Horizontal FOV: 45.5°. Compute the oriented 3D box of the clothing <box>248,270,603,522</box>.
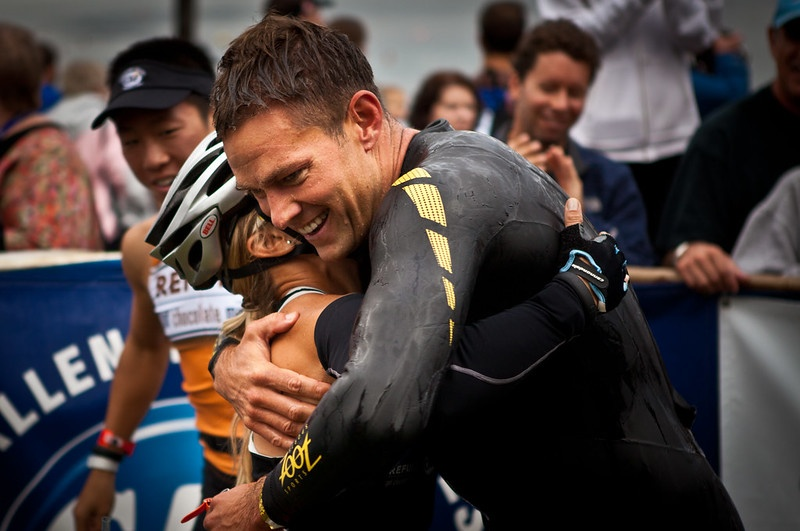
[{"bbox_3d":[0.220,0.590,4.339,1.234,0.495,1.244,-29,-4,-3],"label":"clothing"}]

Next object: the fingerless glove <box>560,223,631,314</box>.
[{"bbox_3d":[0.848,-0.004,4.349,0.190,0.305,0.396,-28,37,22],"label":"fingerless glove"}]

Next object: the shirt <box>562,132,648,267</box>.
[{"bbox_3d":[1.441,-0.422,6.348,0.264,0.783,0.788,-18,8,-18],"label":"shirt"}]

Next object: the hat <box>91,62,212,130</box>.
[{"bbox_3d":[-1.465,-1.059,5.675,0.433,0.236,0.631,-14,4,45],"label":"hat"}]
